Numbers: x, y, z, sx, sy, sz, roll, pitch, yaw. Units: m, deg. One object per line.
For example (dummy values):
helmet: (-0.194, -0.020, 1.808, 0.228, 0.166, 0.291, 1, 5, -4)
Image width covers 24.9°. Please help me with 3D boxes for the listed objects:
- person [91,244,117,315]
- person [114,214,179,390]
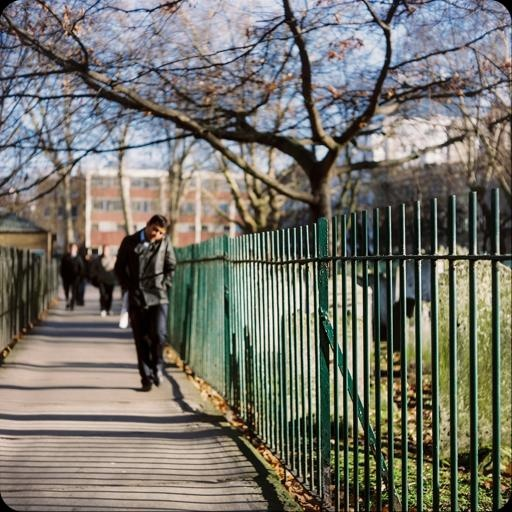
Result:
person: (-2.784, 0.443, 21.400, 0.447, 1.346, 0.382, 0, 28, -12)
person: (-1.154, 0.500, 12.349, 0.644, 1.910, 0.464, -4, 7, -4)
